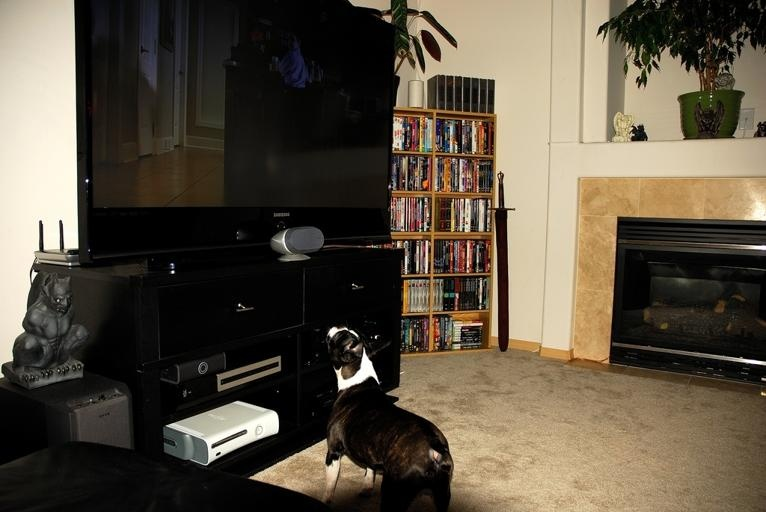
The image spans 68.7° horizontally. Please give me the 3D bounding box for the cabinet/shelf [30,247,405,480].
[{"bbox_3d":[-0.633,0.531,3.139,0.634,1.012,1.798,7,9,37],"label":"cabinet/shelf"}]

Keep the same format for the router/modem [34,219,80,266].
[{"bbox_3d":[-1.543,-0.068,2.629,0.163,0.189,0.574,-7,16,-31],"label":"router/modem"}]

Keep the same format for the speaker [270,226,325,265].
[{"bbox_3d":[-0.441,-0.091,2.987,0.190,0.164,0.250,8,10,34],"label":"speaker"}]

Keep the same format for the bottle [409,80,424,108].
[{"bbox_3d":[0.267,-1.310,4.506,0.114,0.220,0.210,1,13,-1],"label":"bottle"}]
